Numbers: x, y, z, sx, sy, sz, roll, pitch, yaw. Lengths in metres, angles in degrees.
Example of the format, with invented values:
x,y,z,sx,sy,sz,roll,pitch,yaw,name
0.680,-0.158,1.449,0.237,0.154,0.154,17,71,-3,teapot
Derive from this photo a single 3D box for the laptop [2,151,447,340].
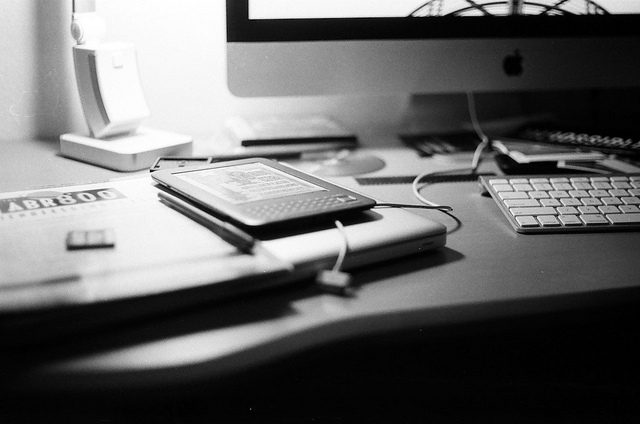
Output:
x,y,z,sx,sy,sz,roll,pitch,yaw,name
-0.120,0.005,0.578,0.448,0.084,0.292,-11,21,-23,laptop

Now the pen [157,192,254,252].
x,y,z,sx,sy,sz,roll,pitch,yaw,name
-0.123,0.013,0.532,0.121,0.017,0.020,28,16,30,pen

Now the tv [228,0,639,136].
x,y,z,sx,sy,sz,roll,pitch,yaw,name
0.216,-0.261,0.773,0.714,0.160,0.043,-6,22,-8,tv
